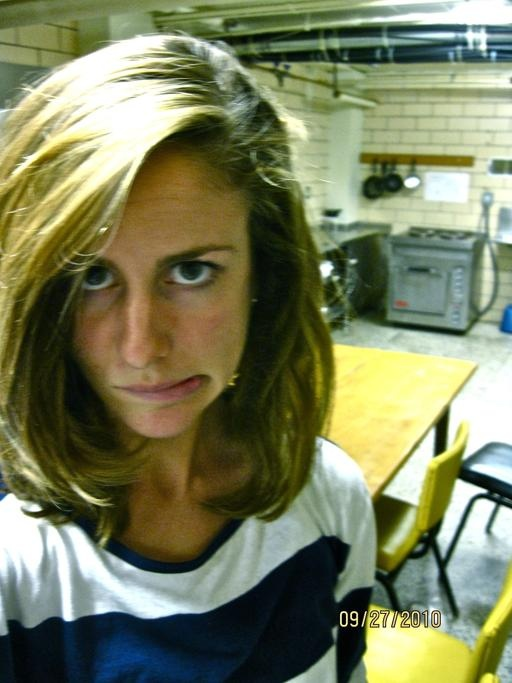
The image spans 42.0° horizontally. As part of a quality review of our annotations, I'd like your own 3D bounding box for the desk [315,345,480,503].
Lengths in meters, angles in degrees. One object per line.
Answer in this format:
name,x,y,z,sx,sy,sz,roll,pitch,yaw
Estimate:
desk,0.367,0.202,1.841,0.466,0.374,0.415,3,34,20
